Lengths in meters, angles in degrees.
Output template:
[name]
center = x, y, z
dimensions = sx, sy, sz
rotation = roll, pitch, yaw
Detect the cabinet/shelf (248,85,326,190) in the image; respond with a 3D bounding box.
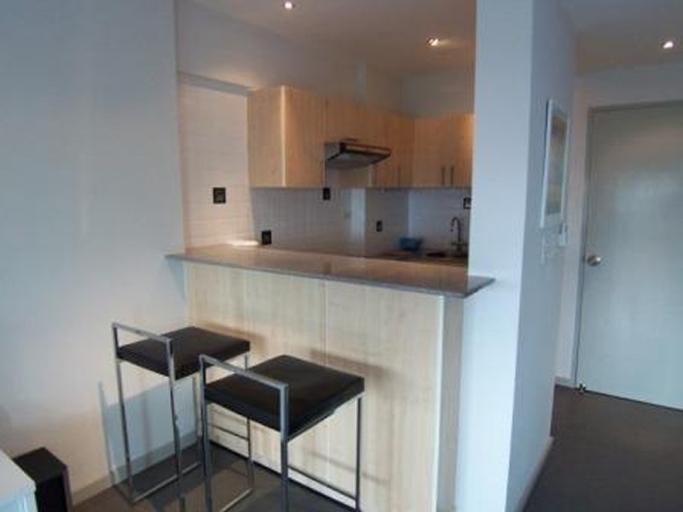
[cabinet/shelf]
center = -0.224, -0.492, 2.241
dimensions = 0.165, 0.420, 0.475
rotation = -6, 9, -31
